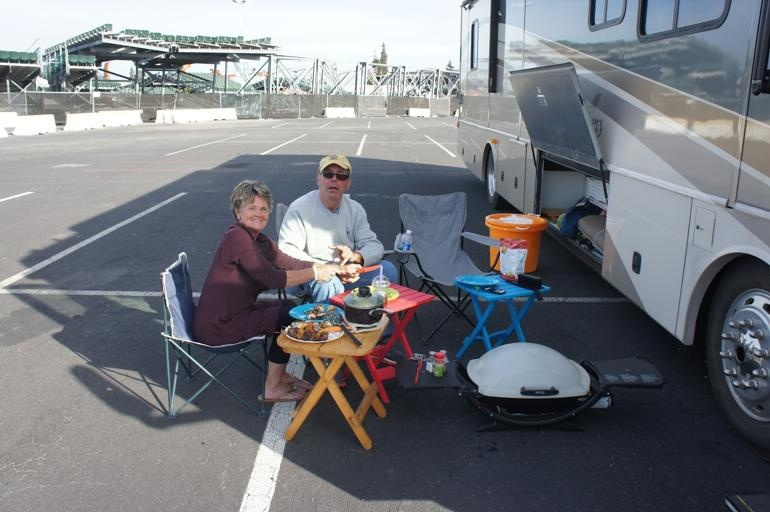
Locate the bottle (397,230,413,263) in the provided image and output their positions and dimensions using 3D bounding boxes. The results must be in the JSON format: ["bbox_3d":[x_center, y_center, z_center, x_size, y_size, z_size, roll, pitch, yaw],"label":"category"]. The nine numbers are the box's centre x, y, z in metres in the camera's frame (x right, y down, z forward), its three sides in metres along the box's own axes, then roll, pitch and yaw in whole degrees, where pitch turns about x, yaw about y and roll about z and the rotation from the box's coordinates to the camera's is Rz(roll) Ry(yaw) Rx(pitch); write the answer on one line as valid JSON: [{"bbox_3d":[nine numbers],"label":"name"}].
[{"bbox_3d":[0.239,-0.116,5.887,0.168,0.313,0.426,-3,21,1],"label":"bottle"}]

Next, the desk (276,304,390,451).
[{"bbox_3d":[-0.432,1.143,4.405,0.743,0.854,1.001,-1,-3,1],"label":"desk"}]

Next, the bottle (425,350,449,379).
[{"bbox_3d":[0.497,0.989,4.624,0.230,0.240,0.175,2,4,33],"label":"bottle"}]

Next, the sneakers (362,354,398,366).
[{"bbox_3d":[-0.029,0.994,4.798,0.325,0.091,0.188,3,9,7],"label":"sneakers"}]

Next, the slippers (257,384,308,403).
[{"bbox_3d":[-0.870,1.280,4.553,0.344,0.088,0.192,-6,12,-9],"label":"slippers"}]

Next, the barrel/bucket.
[{"bbox_3d":[1.896,-0.203,7.378,0.875,0.753,0.941,0,6,0],"label":"barrel/bucket"}]

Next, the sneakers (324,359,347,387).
[{"bbox_3d":[-0.459,1.138,4.809,0.145,0.206,0.497,0,-5,-9],"label":"sneakers"}]

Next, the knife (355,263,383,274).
[{"bbox_3d":[-0.187,0.128,5.238,0.466,0.083,0.124,0,-14,-39],"label":"knife"}]

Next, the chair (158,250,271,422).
[{"bbox_3d":[-1.457,0.677,4.594,0.974,1.328,1.091,3,11,5],"label":"chair"}]

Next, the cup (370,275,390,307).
[{"bbox_3d":[0.007,0.327,4.617,0.141,0.252,0.240,1,14,3],"label":"cup"}]

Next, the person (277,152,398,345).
[{"bbox_3d":[-0.475,-0.082,5.455,1.331,2.052,1.192,10,18,22],"label":"person"}]
